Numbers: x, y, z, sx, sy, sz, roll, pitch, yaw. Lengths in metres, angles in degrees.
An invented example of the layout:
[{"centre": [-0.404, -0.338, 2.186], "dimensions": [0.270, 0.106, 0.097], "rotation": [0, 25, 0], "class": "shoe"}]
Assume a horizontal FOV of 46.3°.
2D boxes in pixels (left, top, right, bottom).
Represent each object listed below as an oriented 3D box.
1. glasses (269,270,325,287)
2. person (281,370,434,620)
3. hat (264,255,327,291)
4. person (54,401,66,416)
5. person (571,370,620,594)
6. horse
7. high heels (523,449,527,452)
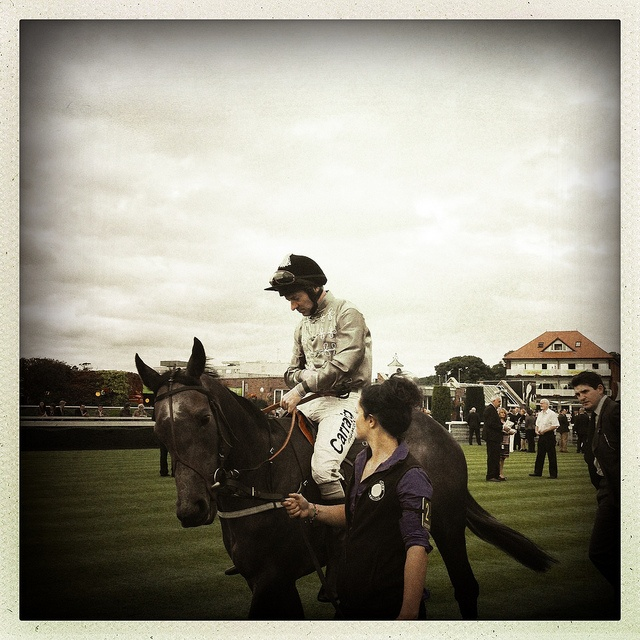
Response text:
[{"centre": [-0.184, -0.298, 5.602], "dimensions": [0.237, 0.084, 0.184], "rotation": [5, -7, -9], "class": "glasses"}, {"centre": [0.351, 0.942, 4.015], "dimensions": [0.518, 1.263, 0.301], "rotation": [0, -1, 19], "class": "person"}, {"centre": [-0.163, -0.278, 5.690], "dimensions": [0.420, 0.305, 0.304], "rotation": [18, -12, -19], "class": "hat"}, {"centre": [-6.937, 2.339, 19.934], "dimensions": [0.227, 0.397, 1.038], "rotation": [0, -1, -20], "class": "person"}, {"centre": [2.169, 1.271, 5.853], "dimensions": [0.346, 1.747, 0.537], "rotation": [-1, -1, 23], "class": "person"}, {"centre": [0.239, 1.582, 5.444], "dimensions": [2.974, 2.368, 0.738], "rotation": [8, -19, -30], "class": "horse"}, {"centre": [5.425, 3.441, 19.695], "dimensions": [0.069, 0.043, 0.102], "rotation": [3, 4, -11], "class": "high heels"}]
